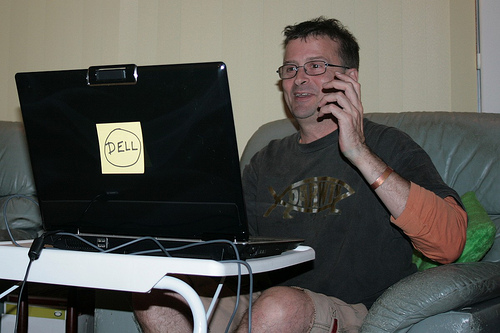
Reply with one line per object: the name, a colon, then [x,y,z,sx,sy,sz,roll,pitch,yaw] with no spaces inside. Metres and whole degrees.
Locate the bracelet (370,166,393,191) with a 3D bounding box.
bracelet: [0.477,0.043,1.569,0.017,0.074,0.073,34,7,5]

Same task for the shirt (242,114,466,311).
shirt: [0.344,0.155,1.890,0.928,0.751,0.483,4,25,21]

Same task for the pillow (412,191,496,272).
pillow: [0.830,0.303,1.819,0.316,0.326,0.145,-33,-47,30]
